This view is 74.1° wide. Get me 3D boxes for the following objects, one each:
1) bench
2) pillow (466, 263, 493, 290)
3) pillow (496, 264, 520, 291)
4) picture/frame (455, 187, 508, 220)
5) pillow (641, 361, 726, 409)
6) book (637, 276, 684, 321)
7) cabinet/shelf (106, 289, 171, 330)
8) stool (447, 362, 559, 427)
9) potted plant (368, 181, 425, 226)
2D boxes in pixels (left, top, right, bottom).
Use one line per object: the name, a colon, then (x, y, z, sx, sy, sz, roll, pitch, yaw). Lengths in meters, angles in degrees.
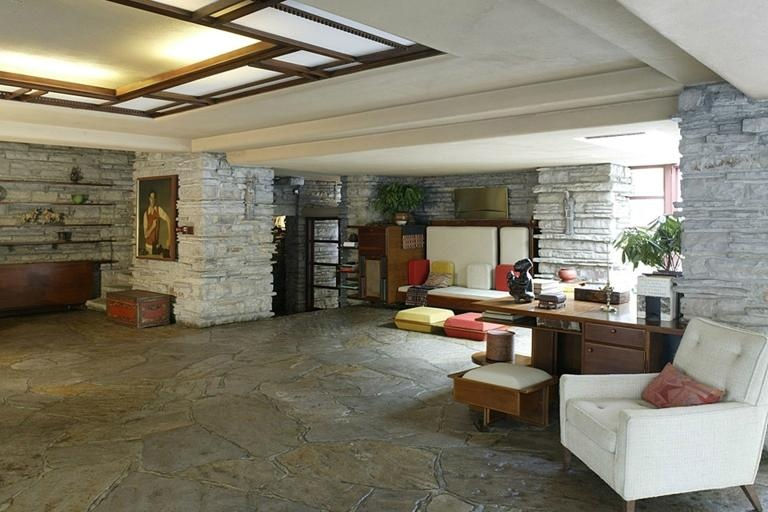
bench: (1.549, 0.203, 9.740, 3.135, 1.500, 1.562, 1, 0, 38)
pillow: (1.939, 0.417, 10.306, 0.835, 0.491, 0.249, 2, -2, 34)
pillow: (2.276, 0.421, 9.990, 0.220, 0.510, 0.769, 5, 1, -30)
picture/frame: (2.067, -1.137, 10.838, 1.280, 0.710, 0.300, 10, 18, 44)
pillow: (2.400, 1.097, 4.173, 0.389, 0.139, 0.520, -30, 9, -9)
book: (2.746, 0.398, 5.110, 0.420, 0.425, 0.365, 6, 14, 27)
cabinet/shelf: (-4.502, 0.962, 9.552, 1.425, 0.410, 0.846, 2, 4, 40)
stool: (1.249, 1.366, 5.274, 1.108, 0.388, 0.869, 4, 8, 44)
potted plant: (0.366, -1.236, 11.652, 0.861, 0.934, 0.965, 9, 15, 37)
